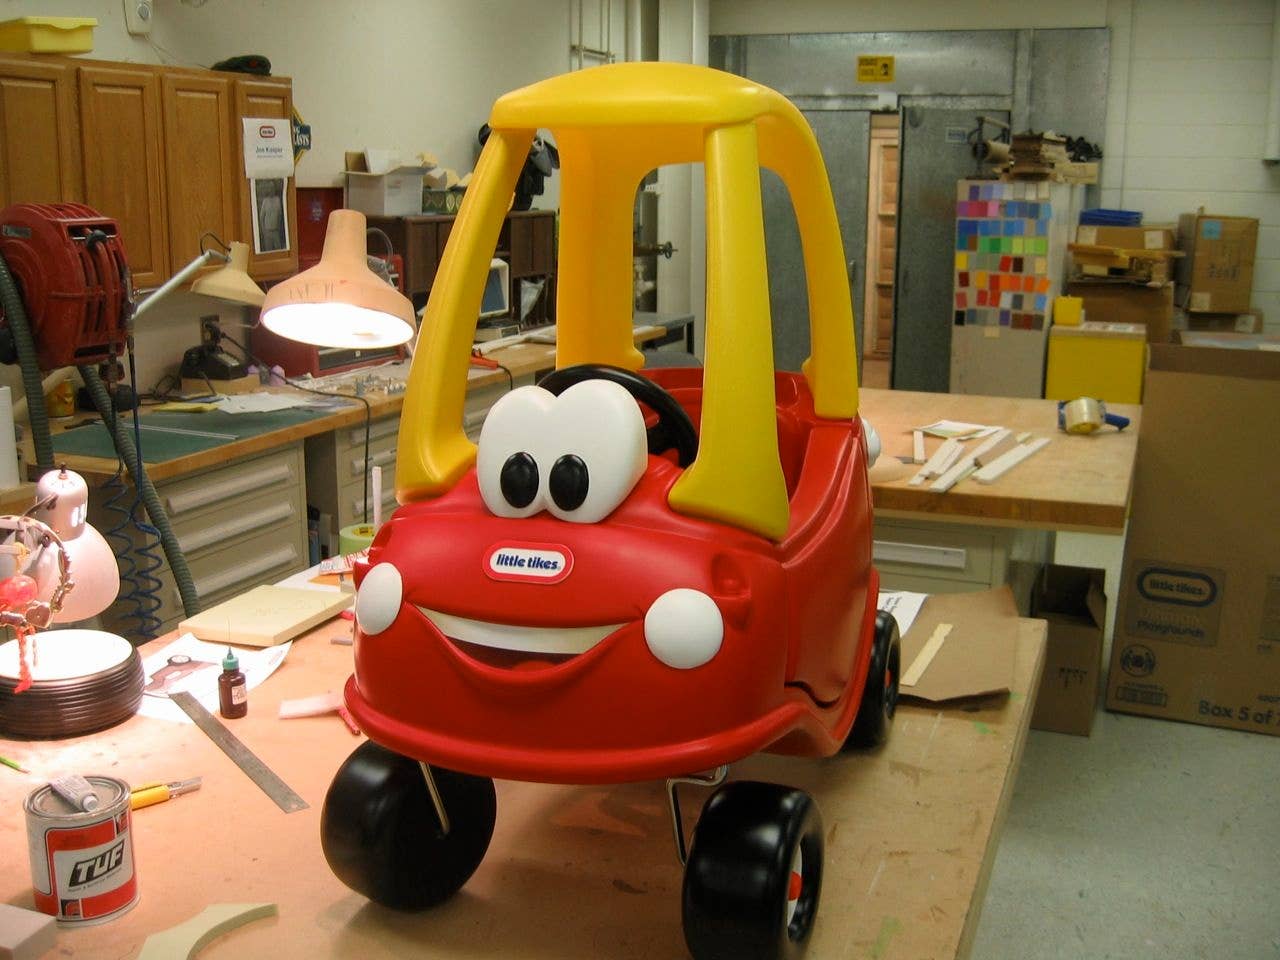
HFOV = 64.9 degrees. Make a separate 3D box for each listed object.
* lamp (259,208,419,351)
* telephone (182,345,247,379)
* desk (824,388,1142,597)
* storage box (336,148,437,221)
[{"bbox_3d":[-0.672,-0.419,2.314,0.299,0.398,0.326,6,15,6],"label":"lamp"},{"bbox_3d":[-1.806,-0.501,4.328,0.183,0.135,0.193,0,9,5],"label":"telephone"},{"bbox_3d":[1.162,0.083,3.322,0.756,0.524,0.809,6,24,21],"label":"desk"},{"bbox_3d":[-1.307,-1.544,5.260,0.254,0.397,0.504,4,18,13],"label":"storage box"}]
